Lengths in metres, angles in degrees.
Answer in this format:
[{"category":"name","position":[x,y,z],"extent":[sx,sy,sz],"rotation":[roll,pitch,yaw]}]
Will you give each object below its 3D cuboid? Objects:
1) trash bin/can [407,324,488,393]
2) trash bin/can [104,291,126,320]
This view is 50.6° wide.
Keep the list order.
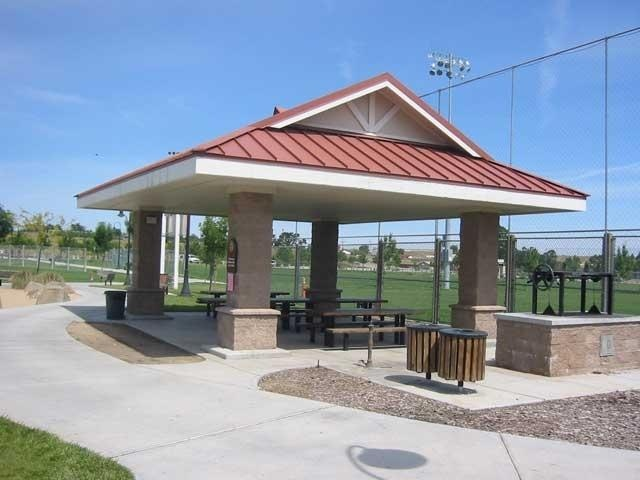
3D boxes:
[{"category":"trash bin/can","position":[2.316,2.142,12.401],"extent":[0.819,1.109,1.279],"rotation":[0,4,-30]},{"category":"trash bin/can","position":[-6.025,1.913,20.091],"extent":[0.769,0.843,0.759],"rotation":[0,-2,-26]}]
